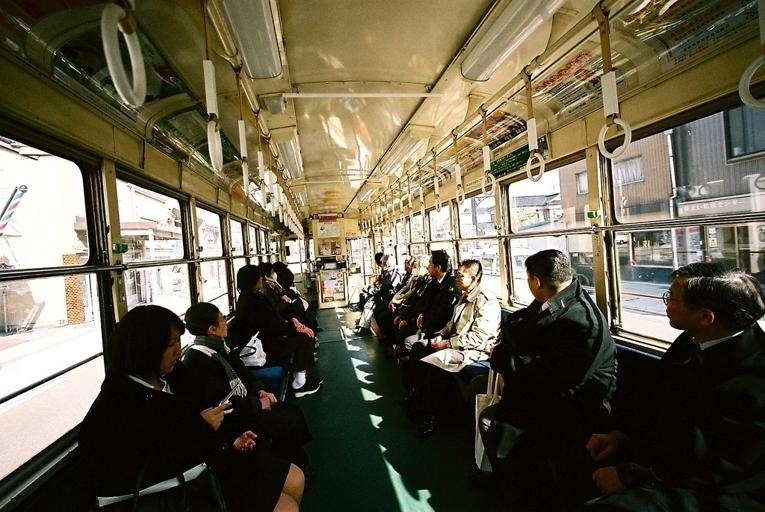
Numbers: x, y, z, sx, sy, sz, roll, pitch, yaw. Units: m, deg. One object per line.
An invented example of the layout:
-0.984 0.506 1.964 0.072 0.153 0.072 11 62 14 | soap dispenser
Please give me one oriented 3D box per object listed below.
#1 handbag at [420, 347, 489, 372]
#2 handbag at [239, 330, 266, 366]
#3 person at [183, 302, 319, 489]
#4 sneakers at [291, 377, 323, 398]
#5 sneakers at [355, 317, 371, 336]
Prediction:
0.762 1.035 4.877 0.449 0.116 0.287 -1 3 -38 | handbag
-1.420 1.019 5.310 0.188 0.331 0.311 0 19 23 | handbag
-1.137 1.311 4.304 1.035 1.847 0.762 -10 -2 -19 | person
-0.894 1.570 5.831 0.361 0.151 0.140 -7 7 -43 | sneakers
-0.363 1.288 8.541 0.275 0.246 0.216 -3 6 19 | sneakers
